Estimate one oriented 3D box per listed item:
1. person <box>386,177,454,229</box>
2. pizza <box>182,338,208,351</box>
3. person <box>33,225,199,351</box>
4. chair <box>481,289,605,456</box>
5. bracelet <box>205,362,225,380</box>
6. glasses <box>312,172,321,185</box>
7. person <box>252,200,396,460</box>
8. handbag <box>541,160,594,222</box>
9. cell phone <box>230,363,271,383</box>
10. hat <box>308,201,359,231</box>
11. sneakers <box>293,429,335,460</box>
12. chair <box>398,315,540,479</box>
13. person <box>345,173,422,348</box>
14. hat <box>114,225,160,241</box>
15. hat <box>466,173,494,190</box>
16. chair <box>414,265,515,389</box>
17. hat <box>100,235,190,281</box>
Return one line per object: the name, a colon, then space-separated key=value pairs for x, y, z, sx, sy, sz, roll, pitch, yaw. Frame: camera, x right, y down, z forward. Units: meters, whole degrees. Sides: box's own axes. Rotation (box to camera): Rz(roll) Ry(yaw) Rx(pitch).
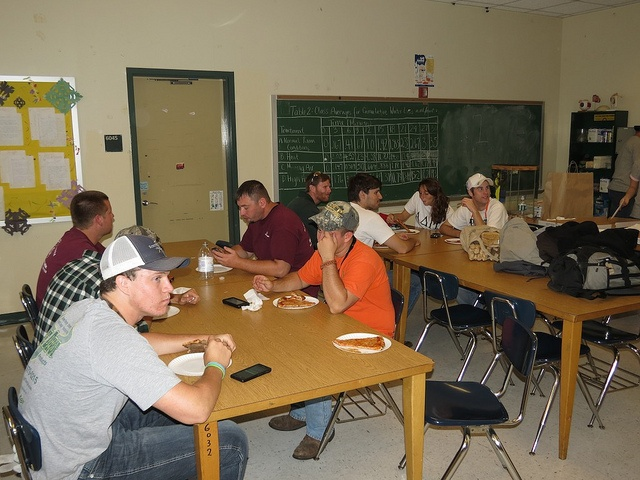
person: x=1.189 y=-0.435 z=6.014 sx=0.443 sy=0.723 sz=0.505 roll=-12 pitch=32 yaw=-28
pizza: x=-0.611 y=0.515 z=2.375 sx=0.073 sy=0.027 sz=0.069 roll=-3 pitch=9 yaw=-38
person: x=-1.013 y=0.242 z=2.779 sx=1.029 sy=0.544 sz=0.583 roll=0 pitch=-1 yaw=-26
chair: x=1.434 y=0.857 z=3.105 sx=0.667 sy=1.020 sz=0.721 roll=-10 pitch=13 yaw=-20
bracelet: x=-0.447 y=0.551 z=2.066 sx=0.069 sy=0.027 sz=0.070 roll=20 pitch=-3 yaw=32
glasses: x=-0.047 y=-0.639 z=5.084 sx=0.038 sy=0.124 sz=0.117 roll=11 pitch=18 yaw=15
person: x=0.029 y=0.545 z=3.121 sx=0.968 sy=1.482 sz=0.702 roll=3 pitch=4 yaw=-7
handbag: x=3.126 y=-0.596 z=5.840 sx=0.352 sy=0.671 sz=0.332 roll=12 pitch=47 yaw=38
cell phone: x=-0.311 y=0.594 z=2.166 sx=0.096 sy=0.019 sz=0.181 roll=5 pitch=14 yaw=37
hat: x=0.089 y=-0.124 z=2.937 sx=0.226 sy=0.129 sz=0.167 roll=14 pitch=12 yaw=-21
sneakers: x=-0.041 y=1.276 z=3.082 sx=0.140 sy=0.141 sz=0.332 roll=1 pitch=1 yaw=33
chair: x=0.932 y=0.976 z=2.966 sx=0.796 sy=1.129 sz=0.695 roll=1 pitch=12 yaw=-4
person: x=0.609 y=0.107 z=4.654 sx=0.743 sy=1.448 sz=0.619 roll=-4 pitch=18 yaw=-1
hat: x=-1.256 y=-0.048 z=3.275 sx=0.318 sy=0.129 sz=0.220 roll=1 pitch=7 yaw=14
hat: x=1.642 y=-0.588 z=5.154 sx=0.201 sy=0.147 sz=0.273 roll=-9 pitch=-6 yaw=-21
chair: x=1.091 y=0.622 z=3.816 sx=0.620 sy=0.867 sz=0.528 roll=-8 pitch=9 yaw=-35
hat: x=-0.752 y=0.060 z=2.065 sx=0.367 sy=0.181 sz=0.242 roll=-12 pitch=1 yaw=0
